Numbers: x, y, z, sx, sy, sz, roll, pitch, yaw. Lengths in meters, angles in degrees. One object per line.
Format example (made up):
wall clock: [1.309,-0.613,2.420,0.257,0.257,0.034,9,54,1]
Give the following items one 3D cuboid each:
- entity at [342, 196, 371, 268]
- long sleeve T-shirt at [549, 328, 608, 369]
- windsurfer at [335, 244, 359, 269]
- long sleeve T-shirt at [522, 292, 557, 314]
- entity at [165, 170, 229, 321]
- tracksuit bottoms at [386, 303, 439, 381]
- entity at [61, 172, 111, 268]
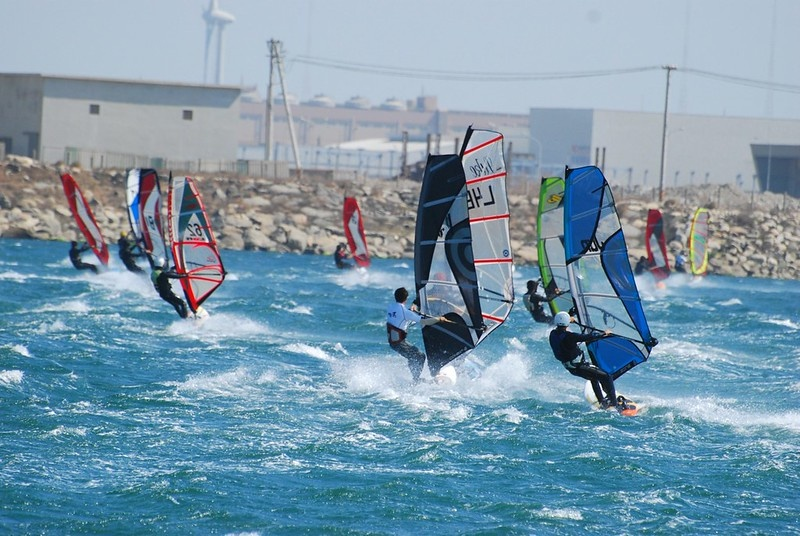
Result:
entity: [-2.028,-1.581,73.626,0.959,3.564,0.509,-7,41,14]
long sleeve T-shirt: [6.091,2.626,52.967,0.469,0.620,1.522,-19,19,-39]
windsurfer: [-2.500,-0.564,74.320,0.953,1.265,2.128,1,5,-1]
long sleeve T-shirt: [5.071,1.099,58.056,0.888,0.609,0.835,34,-24,-17]
entity: [-7.746,-0.947,59.636,1.687,5.192,0.554,-10,24,4]
tracksuit bottoms: [0.482,2.565,54.759,1.521,2.690,1.305,-31,39,-18]
entity: [-13.242,-2.011,66.965,1.944,4.000,3.961,0,5,-11]
